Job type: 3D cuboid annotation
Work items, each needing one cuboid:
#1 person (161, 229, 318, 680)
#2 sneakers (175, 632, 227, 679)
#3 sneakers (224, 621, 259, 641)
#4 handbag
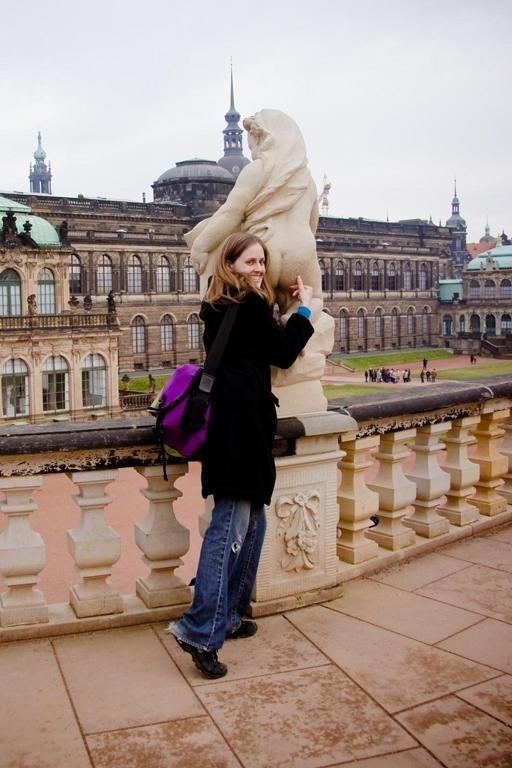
[{"bbox_3d":[-0.065,0.241,3.004,0.407,1.652,0.681,4,6,19],"label":"person"},{"bbox_3d":[-0.185,1.001,2.842,0.110,0.209,0.072,-47,-15,0],"label":"sneakers"},{"bbox_3d":[-0.051,1.010,3.198,0.143,0.065,0.051,-19,29,-37],"label":"sneakers"},{"bbox_3d":[-0.270,0.108,2.888,0.259,0.341,0.184,4,6,20],"label":"handbag"}]
